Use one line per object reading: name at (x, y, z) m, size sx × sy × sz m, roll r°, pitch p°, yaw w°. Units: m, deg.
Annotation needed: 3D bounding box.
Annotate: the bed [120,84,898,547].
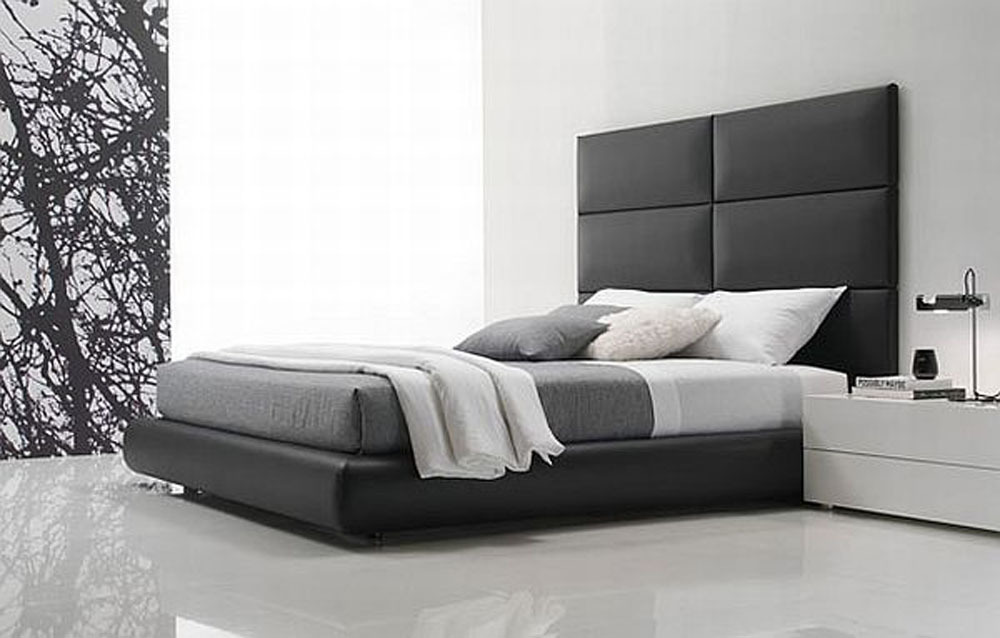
bed at (0.219, 0.007, 4.229) m, size 3.223 × 1.870 × 3.083 m, roll 2°, pitch -4°, yaw -29°
